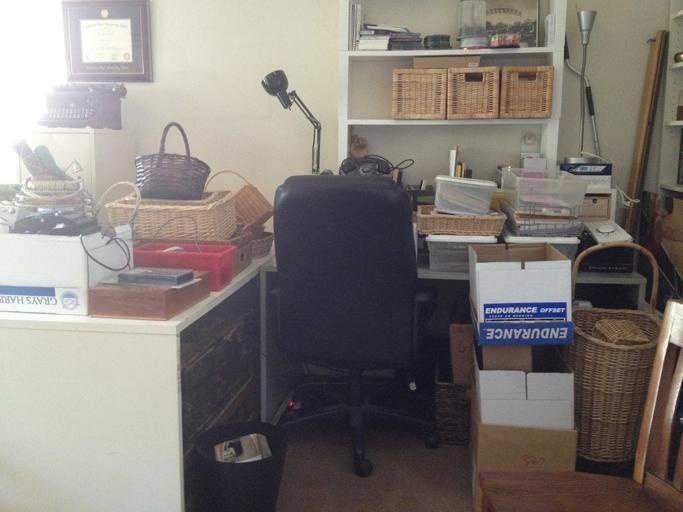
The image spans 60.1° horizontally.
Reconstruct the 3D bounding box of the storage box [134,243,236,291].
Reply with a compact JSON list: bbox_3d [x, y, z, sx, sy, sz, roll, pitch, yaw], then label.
[{"bbox_3d":[-0.668,0.035,2.529,0.354,0.150,0.217,2,5,4],"label":"storage box"}]

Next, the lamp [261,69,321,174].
[{"bbox_3d":[-0.275,-0.760,3.366,0.315,0.596,0.660,-1,15,-2],"label":"lamp"}]

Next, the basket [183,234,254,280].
[{"bbox_3d":[-0.546,-0.007,2.776,0.203,0.128,0.208,4,10,14],"label":"basket"}]

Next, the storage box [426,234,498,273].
[{"bbox_3d":[0.527,-0.021,2.904,0.256,0.135,0.204,0,10,5],"label":"storage box"}]

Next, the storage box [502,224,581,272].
[{"bbox_3d":[0.953,-0.066,2.825,0.234,0.250,0.184,3,16,11],"label":"storage box"}]

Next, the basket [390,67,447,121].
[{"bbox_3d":[0.424,-0.875,3.254,0.277,0.211,0.277,1,8,4],"label":"basket"}]

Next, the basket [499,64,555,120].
[{"bbox_3d":[0.990,-0.882,3.185,0.277,0.218,0.278,1,9,3],"label":"basket"}]

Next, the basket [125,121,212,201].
[{"bbox_3d":[-0.798,-0.441,2.810,0.308,0.397,0.224,5,-5,-16],"label":"basket"}]

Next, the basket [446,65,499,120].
[{"bbox_3d":[0.712,-0.875,3.215,0.280,0.238,0.275,1,10,2],"label":"basket"}]

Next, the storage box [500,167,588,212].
[{"bbox_3d":[1.001,-0.356,3.003,0.314,0.186,0.454,1,15,3],"label":"storage box"}]

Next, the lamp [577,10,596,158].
[{"bbox_3d":[1.369,-0.991,3.396,0.104,0.804,0.288,6,16,21],"label":"lamp"}]
